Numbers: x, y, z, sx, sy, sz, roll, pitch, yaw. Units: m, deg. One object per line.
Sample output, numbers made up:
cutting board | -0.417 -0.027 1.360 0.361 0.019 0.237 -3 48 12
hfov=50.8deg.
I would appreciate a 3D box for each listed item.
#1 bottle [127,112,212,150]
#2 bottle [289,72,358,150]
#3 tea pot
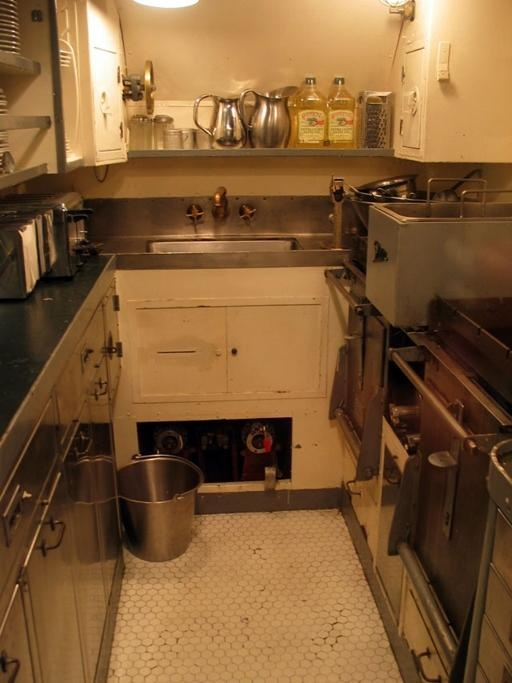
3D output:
bottle | -0.410 -0.942 2.348 0.260 0.100 0.176 12 26 21
bottle | 0.290 -0.962 2.281 0.348 0.405 0.154 -1 22 -2
tea pot | -0.030 -0.932 2.312 0.384 0.268 0.248 -21 42 -22
